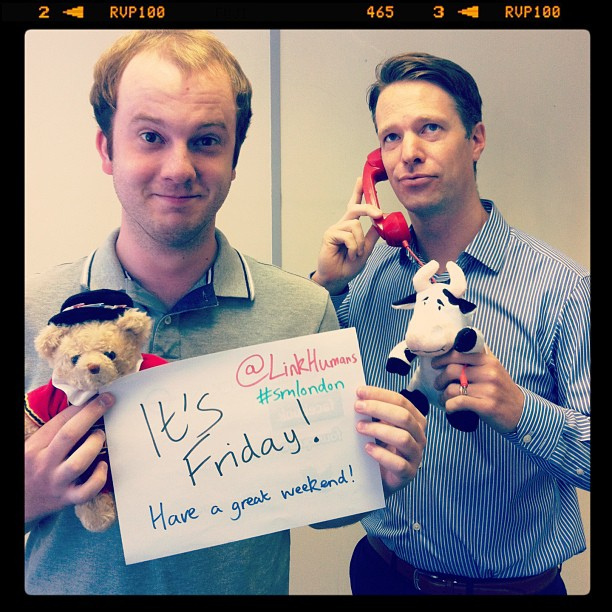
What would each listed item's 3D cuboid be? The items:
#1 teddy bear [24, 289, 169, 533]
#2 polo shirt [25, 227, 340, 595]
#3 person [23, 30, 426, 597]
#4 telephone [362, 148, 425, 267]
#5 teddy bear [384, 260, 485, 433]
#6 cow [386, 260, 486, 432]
[{"bbox_3d":[-0.358,0.182,1.265,0.220,0.433,0.174,7,21,25],"label":"teddy bear"},{"bbox_3d":[-0.255,0.199,1.405,0.759,0.649,0.385,-1,15,-13],"label":"polo shirt"},{"bbox_3d":[-0.151,0.029,1.288,0.705,0.989,0.392,1,19,9],"label":"person"},{"bbox_3d":[0.163,-0.159,1.372,0.055,0.053,0.179,21,23,-34],"label":"telephone"},{"bbox_3d":[0.238,0.067,1.260,0.165,0.276,0.162,-17,19,-35],"label":"teddy bear"},{"bbox_3d":[0.233,0.071,1.293,0.162,0.313,0.169,2,19,13],"label":"cow"}]
